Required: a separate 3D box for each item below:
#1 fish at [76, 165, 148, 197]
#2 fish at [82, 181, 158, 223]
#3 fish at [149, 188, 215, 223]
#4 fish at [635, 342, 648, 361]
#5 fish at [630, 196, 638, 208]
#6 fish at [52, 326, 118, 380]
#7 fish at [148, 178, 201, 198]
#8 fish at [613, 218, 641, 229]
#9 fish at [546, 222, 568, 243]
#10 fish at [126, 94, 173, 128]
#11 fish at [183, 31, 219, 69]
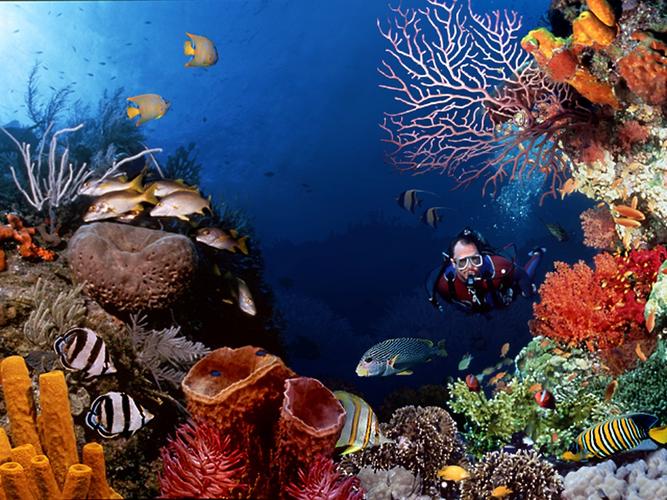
[{"bbox_3d":[-2.749,-0.829,7.932,0.877,0.213,0.394,-13,74,-23],"label":"fish"},{"bbox_3d":[-2.527,-0.478,7.663,0.834,0.631,0.390,-10,47,-22],"label":"fish"},{"bbox_3d":[-1.882,-0.515,7.876,0.721,0.370,0.225,-13,49,-25],"label":"fish"},{"bbox_3d":[3.652,1.219,7.685,0.043,0.096,0.188,23,49,-39],"label":"fish"},{"bbox_3d":[3.794,-0.590,8.166,0.105,0.193,0.055,5,-1,-38],"label":"fish"},{"bbox_3d":[-2.511,1.036,6.525,0.591,0.410,0.275,10,43,-3],"label":"fish"},{"bbox_3d":[-2.032,-0.763,8.086,0.588,0.184,0.293,-9,34,-30],"label":"fish"},{"bbox_3d":[3.683,-0.301,8.114,0.327,0.116,0.172,4,23,25],"label":"fish"},{"bbox_3d":[3.278,-0.285,9.523,0.198,0.186,0.379,-30,50,-16],"label":"fish"},{"bbox_3d":[-2.312,-1.691,8.071,0.428,0.436,0.352,11,44,-2],"label":"fish"},{"bbox_3d":[-1.663,-2.439,7.982,0.390,0.526,0.432,-10,48,-22],"label":"fish"}]
